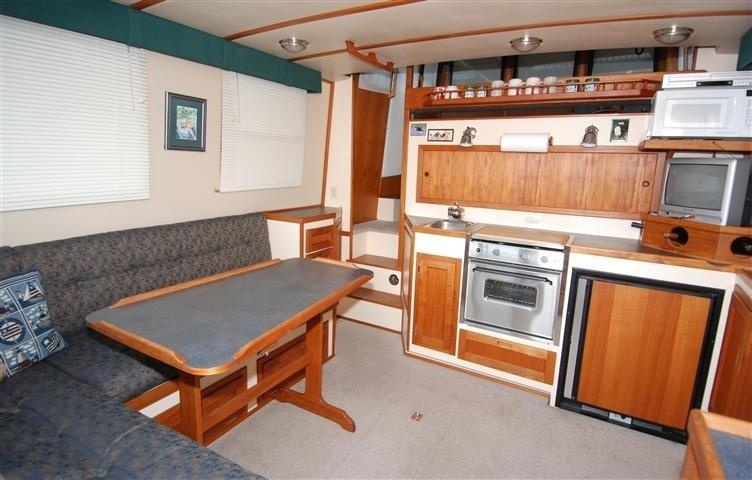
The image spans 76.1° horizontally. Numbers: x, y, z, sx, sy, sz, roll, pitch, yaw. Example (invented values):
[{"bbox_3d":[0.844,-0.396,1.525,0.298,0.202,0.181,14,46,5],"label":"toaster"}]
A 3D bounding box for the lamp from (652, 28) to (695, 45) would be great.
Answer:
[{"bbox_3d":[2.684,-1.842,4.314,0.302,0.096,0.403,10,17,34],"label":"lamp"}]

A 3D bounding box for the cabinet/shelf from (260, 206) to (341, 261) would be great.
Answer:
[{"bbox_3d":[-0.827,-0.041,5.743,0.619,0.665,0.908,9,17,27],"label":"cabinet/shelf"}]

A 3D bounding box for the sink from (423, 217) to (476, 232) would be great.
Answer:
[{"bbox_3d":[0.843,-0.172,5.270,0.304,0.106,0.242,9,22,24],"label":"sink"}]

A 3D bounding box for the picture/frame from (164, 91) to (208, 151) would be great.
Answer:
[{"bbox_3d":[-1.887,-1.171,4.726,0.083,0.524,0.472,11,19,33],"label":"picture/frame"}]

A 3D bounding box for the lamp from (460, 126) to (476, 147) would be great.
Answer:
[{"bbox_3d":[0.988,-1.112,5.118,0.146,0.204,0.228,5,16,17],"label":"lamp"}]

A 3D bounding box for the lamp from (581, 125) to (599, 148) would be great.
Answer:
[{"bbox_3d":[2.089,-1.006,4.662,0.142,0.214,0.244,8,17,24],"label":"lamp"}]

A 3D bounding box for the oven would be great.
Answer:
[{"bbox_3d":[1.411,0.538,4.749,0.920,0.607,0.658,8,10,34],"label":"oven"}]
